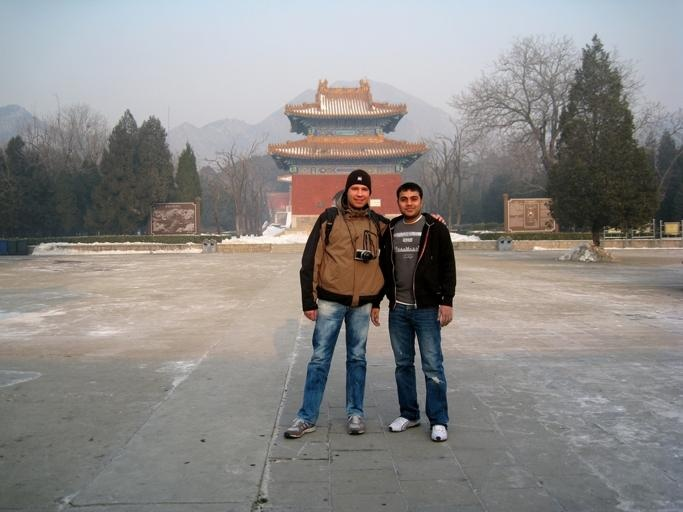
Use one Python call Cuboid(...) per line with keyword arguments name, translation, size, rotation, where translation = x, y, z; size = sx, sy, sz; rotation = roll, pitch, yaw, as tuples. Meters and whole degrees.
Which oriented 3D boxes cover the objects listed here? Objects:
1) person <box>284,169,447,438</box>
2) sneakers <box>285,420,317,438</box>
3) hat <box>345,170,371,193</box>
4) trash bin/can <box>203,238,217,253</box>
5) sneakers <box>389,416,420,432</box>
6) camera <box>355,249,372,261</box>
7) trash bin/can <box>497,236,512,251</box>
Cuboid(name="person", translation=(-0.001, 0.345, 5.113), size=(0.758, 2.061, 0.650), rotation=(0, 6, 1))
Cuboid(name="sneakers", translation=(-0.323, 1.341, 4.942), size=(0.257, 0.122, 0.101), rotation=(6, -9, -43))
Cuboid(name="hat", translation=(0.125, -0.614, 5.185), size=(0.176, 0.165, 0.186), rotation=(4, -4, -25))
Cuboid(name="trash bin/can", translation=(-7.044, -0.518, 33.816), size=(0.621, 0.613, 0.629), rotation=(0, -2, -17))
Cuboid(name="sneakers", translation=(0.508, 1.352, 5.130), size=(0.249, 0.094, 0.091), rotation=(5, -5, -35))
Cuboid(name="camera", translation=(0.175, -0.009, 5.102), size=(0.106, 0.087, 0.089), rotation=(6, 5, 16))
Cuboid(name="trash bin/can", translation=(8.833, -0.628, 34.480), size=(1.019, 0.993, 0.599), rotation=(0, -1, -5))
